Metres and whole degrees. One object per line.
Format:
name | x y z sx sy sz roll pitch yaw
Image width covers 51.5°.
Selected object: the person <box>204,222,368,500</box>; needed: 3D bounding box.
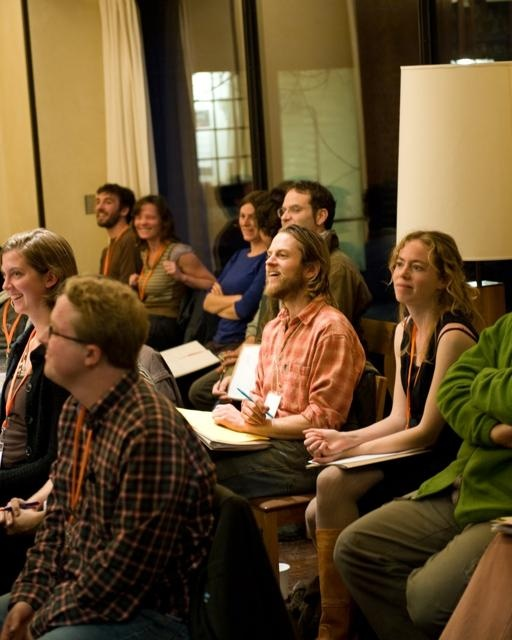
person | 0.078 0.137 2.070 0.701 0.998 0.580 4 -4 -26
